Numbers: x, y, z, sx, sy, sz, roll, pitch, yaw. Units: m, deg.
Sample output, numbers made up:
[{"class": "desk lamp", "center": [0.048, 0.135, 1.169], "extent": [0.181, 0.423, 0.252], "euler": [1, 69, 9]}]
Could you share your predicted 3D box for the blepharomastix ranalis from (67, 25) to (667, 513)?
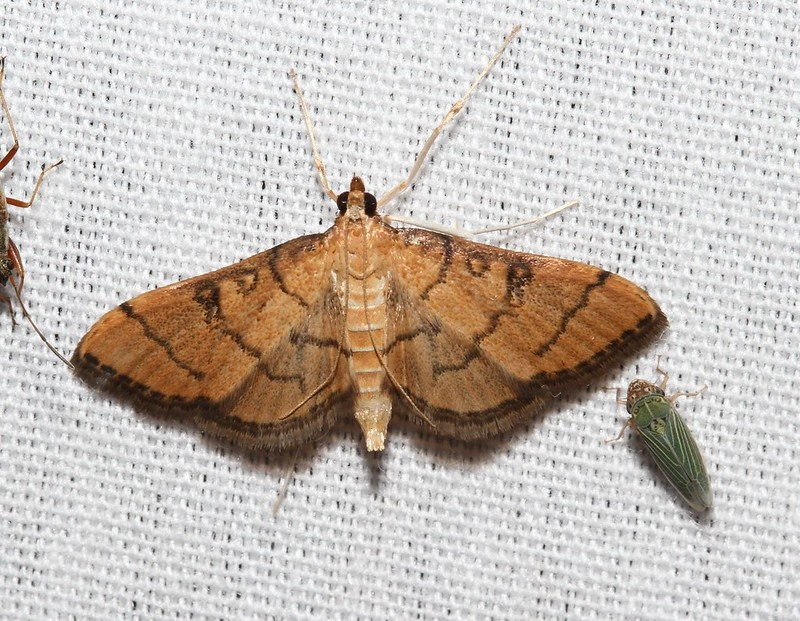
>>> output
[{"class": "blepharomastix ranalis", "center": [-0.142, 0.084, 5.874], "extent": [2.410, 0.562, 0.952], "euler": [0, 69, -7]}]
